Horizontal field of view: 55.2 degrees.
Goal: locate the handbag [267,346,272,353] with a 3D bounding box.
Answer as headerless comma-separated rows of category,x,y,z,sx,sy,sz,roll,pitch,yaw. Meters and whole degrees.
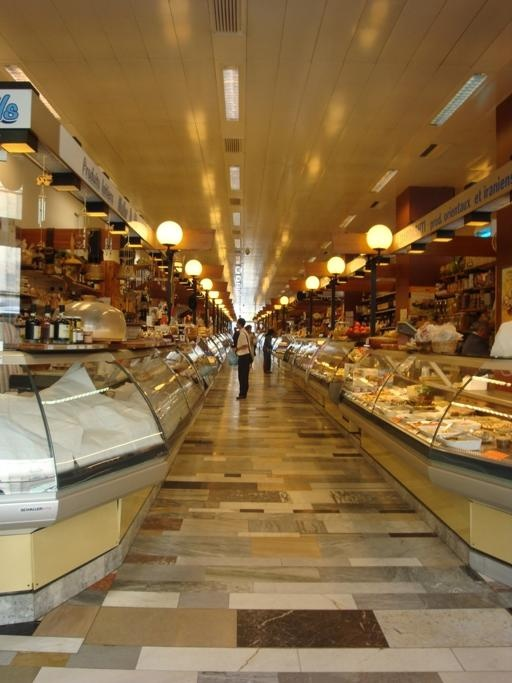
handbag,0.322,0.205,12.466,0.088,0.069,0.150,20,-10,7

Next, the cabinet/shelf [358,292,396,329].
cabinet/shelf,3.383,-0.829,13.786,0.839,1.004,3.573,1,3,10
